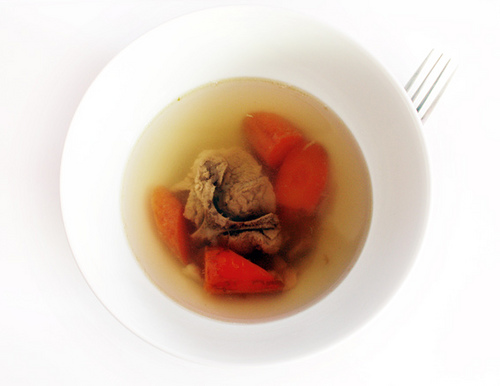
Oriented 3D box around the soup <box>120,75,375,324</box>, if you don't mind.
[{"bbox_3d":[0.011,-0.013,2.496,1.159,0.318,1.303,-14,-96,1],"label":"soup"}]
